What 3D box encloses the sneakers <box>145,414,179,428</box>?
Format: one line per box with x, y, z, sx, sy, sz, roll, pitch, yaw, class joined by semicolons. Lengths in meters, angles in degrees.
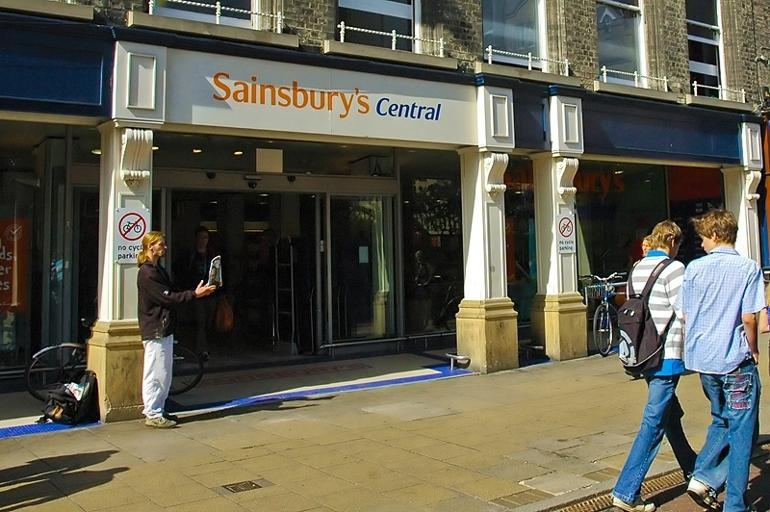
-3.118;2.301;9.850;0.459;0.192;0.173;1;-1;-1;sneakers

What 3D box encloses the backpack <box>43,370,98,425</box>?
-4.443;2.048;9.953;0.588;0.727;0.301;-1;-26;4;backpack
